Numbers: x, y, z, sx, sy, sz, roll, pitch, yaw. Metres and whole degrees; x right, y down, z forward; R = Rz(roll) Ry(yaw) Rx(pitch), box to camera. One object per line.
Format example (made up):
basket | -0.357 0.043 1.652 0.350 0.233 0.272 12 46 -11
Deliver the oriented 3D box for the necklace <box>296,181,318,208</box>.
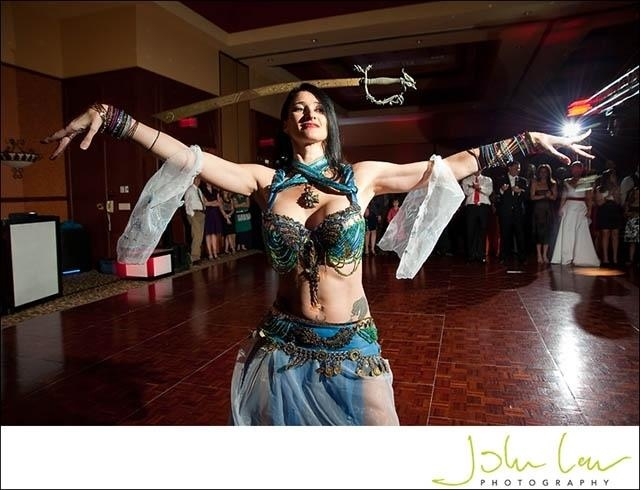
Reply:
necklace | -0.049 -0.195 1.673 0.103 0.108 0.042 1 4 1

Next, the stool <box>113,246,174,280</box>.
stool | -2.032 0.254 4.984 0.490 0.309 0.494 1 3 20

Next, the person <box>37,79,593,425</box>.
person | -0.028 0.056 1.735 1.795 1.389 0.362 -1 9 0

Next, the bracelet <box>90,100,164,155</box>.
bracelet | -0.729 -0.460 1.635 0.161 0.227 0.067 -14 34 28
